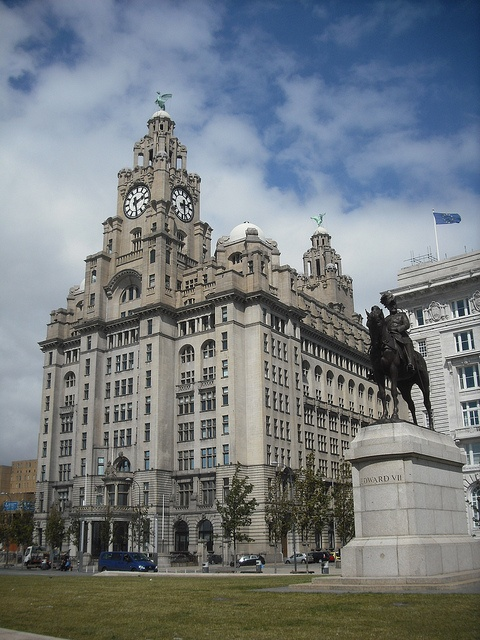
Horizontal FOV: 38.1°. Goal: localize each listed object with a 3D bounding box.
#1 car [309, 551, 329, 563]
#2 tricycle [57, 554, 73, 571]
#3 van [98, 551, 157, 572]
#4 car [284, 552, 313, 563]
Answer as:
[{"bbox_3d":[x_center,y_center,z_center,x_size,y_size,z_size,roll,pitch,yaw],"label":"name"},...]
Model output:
[{"bbox_3d":[8.158,24.745,72.449,2.163,1.135,6.000,-3,-19,5],"label":"car"},{"bbox_3d":[-16.934,23.752,67.479,1.029,1.213,2.035,4,-19,-16],"label":"tricycle"},{"bbox_3d":[-9.791,21.244,60.868,2.365,1.710,6.382,15,-25,-40],"label":"van"},{"bbox_3d":[6.311,25.552,74.237,3.102,1.066,6.393,-3,-19,2],"label":"car"}]
